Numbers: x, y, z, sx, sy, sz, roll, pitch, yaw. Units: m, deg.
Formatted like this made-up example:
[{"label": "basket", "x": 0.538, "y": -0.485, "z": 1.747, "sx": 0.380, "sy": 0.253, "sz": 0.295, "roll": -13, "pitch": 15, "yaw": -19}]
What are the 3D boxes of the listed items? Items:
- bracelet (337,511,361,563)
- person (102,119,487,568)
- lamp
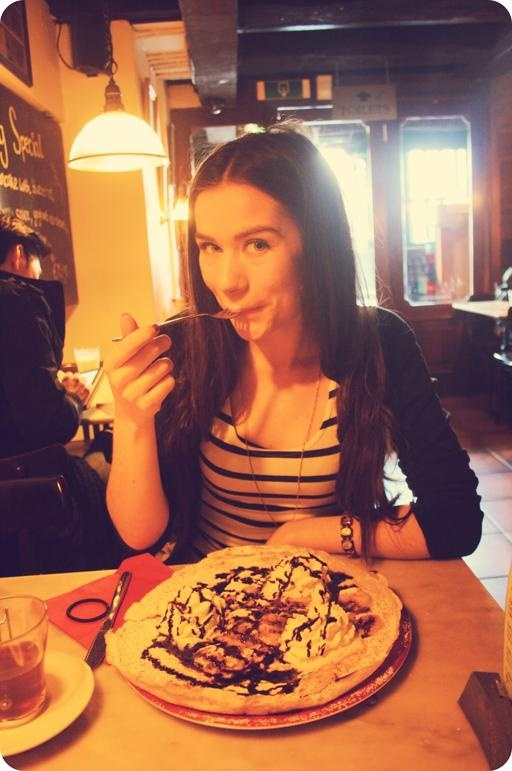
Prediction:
[{"label": "bracelet", "x": 0.149, "y": 0.245, "z": 1.020, "sx": 0.030, "sy": 0.058, "sz": 0.053, "roll": -11, "pitch": -36, "yaw": 12}, {"label": "person", "x": 0.052, "y": -0.064, "z": 1.163, "sx": 0.670, "sy": 0.838, "sz": 0.485, "roll": -2, "pitch": 9, "yaw": 6}, {"label": "lamp", "x": -0.505, "y": -1.022, "z": 2.476, "sx": 0.413, "sy": 0.499, "sz": 0.415, "roll": -10, "pitch": 19, "yaw": -18}]
